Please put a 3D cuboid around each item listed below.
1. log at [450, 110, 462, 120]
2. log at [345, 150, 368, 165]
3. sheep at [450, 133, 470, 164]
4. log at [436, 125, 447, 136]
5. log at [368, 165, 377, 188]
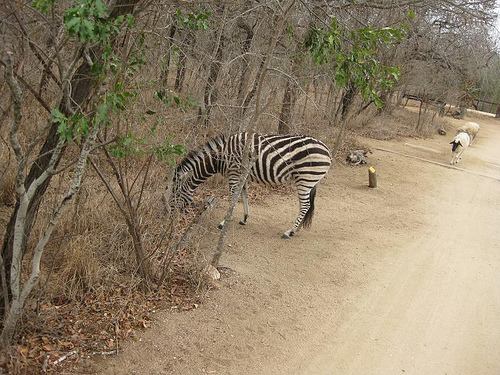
[{"bbox_3d":[16.230,-5.784,32.698,0.783,0.806,2.225,14,11,24],"label":"log"},{"bbox_3d":[3.434,-0.969,13.443,0.933,0.446,0.597,2,13,-40],"label":"log"},{"bbox_3d":[7.764,-1.446,15.448,0.427,1.203,0.898,15,12,35],"label":"sheep"},{"bbox_3d":[10.406,-3.066,22.675,0.505,0.283,0.773,4,26,5],"label":"log"},{"bbox_3d":[3.346,-0.248,11.283,0.251,0.551,0.486,12,11,21],"label":"log"}]
